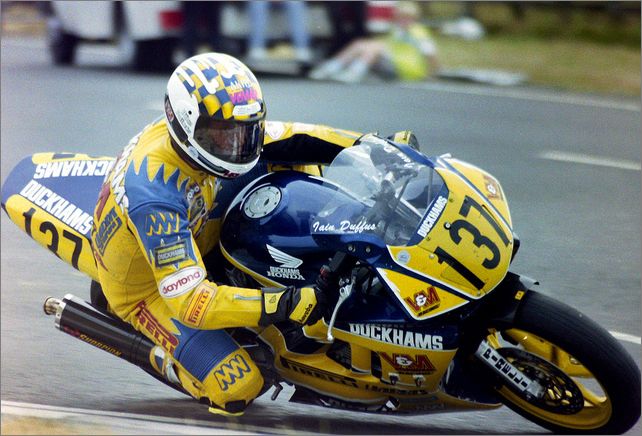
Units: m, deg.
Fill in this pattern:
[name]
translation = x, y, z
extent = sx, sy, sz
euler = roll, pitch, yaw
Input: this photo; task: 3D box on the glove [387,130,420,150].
[glove]
translation = 0.654, -0.605, 7.297
extent = 0.161, 0.074, 0.213
euler = 30, 5, 12
